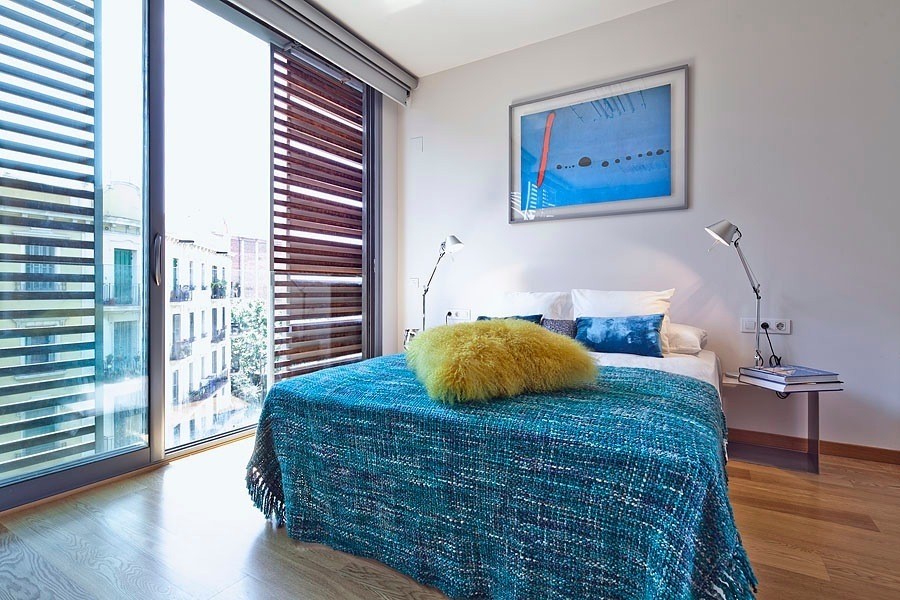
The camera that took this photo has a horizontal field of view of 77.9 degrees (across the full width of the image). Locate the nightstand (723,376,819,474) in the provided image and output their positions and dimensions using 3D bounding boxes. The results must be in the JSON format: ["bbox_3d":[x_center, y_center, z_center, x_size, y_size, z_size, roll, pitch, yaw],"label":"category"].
[{"bbox_3d":[2.249,0.846,3.948,0.623,0.576,0.617,0,-4,-2],"label":"nightstand"}]

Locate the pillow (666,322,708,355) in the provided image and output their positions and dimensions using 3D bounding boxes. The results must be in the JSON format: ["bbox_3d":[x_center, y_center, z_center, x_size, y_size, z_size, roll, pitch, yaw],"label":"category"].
[{"bbox_3d":[1.710,0.261,3.980,0.240,0.070,0.246,-3,9,31],"label":"pillow"}]

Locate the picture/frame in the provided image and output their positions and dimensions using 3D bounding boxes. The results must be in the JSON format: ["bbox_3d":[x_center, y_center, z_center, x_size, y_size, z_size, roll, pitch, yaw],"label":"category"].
[{"bbox_3d":[1.266,-1.251,4.462,1.423,1.026,0.055,-1,-1,28],"label":"picture/frame"}]

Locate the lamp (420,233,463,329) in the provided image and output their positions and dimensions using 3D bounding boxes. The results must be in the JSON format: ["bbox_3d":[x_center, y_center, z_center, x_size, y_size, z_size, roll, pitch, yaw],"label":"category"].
[{"bbox_3d":[-0.039,-0.159,5.015,0.283,0.857,0.599,0,3,-20],"label":"lamp"}]
